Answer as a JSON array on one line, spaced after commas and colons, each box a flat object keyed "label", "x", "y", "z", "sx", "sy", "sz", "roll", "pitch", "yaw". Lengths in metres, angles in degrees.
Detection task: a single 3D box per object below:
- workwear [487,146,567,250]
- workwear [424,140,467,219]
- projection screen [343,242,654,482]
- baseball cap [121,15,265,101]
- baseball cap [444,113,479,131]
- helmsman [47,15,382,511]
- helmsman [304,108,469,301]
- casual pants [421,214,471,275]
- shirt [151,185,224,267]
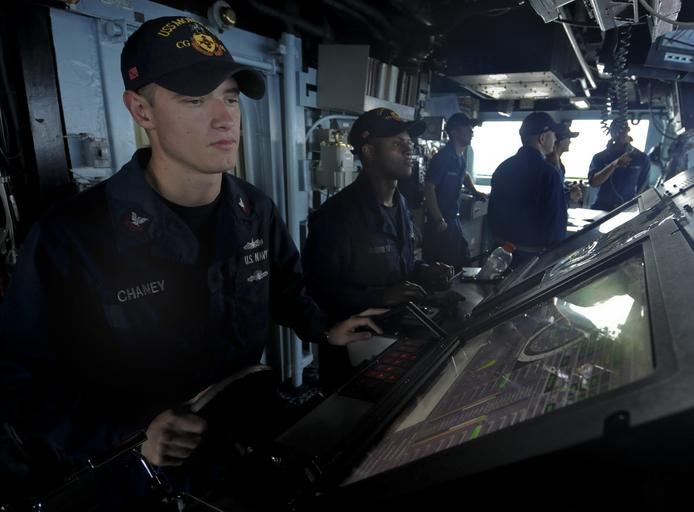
[{"label": "workwear", "x": 1.272, "y": -0.416, "z": 3.721, "sx": 0.376, "sy": 0.693, "sz": 0.802, "roll": -11, "pitch": 22, "yaw": -20}, {"label": "workwear", "x": 0.878, "y": -0.714, "z": 4.704, "sx": 0.312, "sy": 0.776, "sz": 0.688, "roll": 4, "pitch": 23, "yaw": 26}, {"label": "projection screen", "x": 0.397, "y": 0.235, "z": 1.187, "sx": 0.515, "sy": 0.442, "sz": 0.682, "roll": 8, "pitch": 14, "yaw": 31}, {"label": "baseball cap", "x": -0.500, "y": -0.604, "z": 1.647, "sx": 0.397, "sy": 0.211, "sz": 0.278, "roll": 6, "pitch": 22, "yaw": 20}, {"label": "baseball cap", "x": 1.028, "y": -1.235, "z": 4.705, "sx": 0.288, "sy": 0.165, "sz": 0.201, "roll": -21, "pitch": 11, "yaw": 20}, {"label": "helmsman", "x": -0.558, "y": -0.111, "z": 1.678, "sx": 0.999, "sy": 1.301, "sz": 0.476, "roll": -6, "pitch": 14, "yaw": -33}, {"label": "helmsman", "x": 0.199, "y": -0.231, "z": 2.657, "sx": 0.638, "sy": 1.013, "sz": 1.060, "roll": 3, "pitch": 8, "yaw": 28}, {"label": "casual pants", "x": 0.809, "y": -0.102, "z": 4.340, "sx": 0.416, "sy": 0.573, "sz": 0.311, "roll": -9, "pitch": 2, "yaw": 5}, {"label": "shirt", "x": -0.551, "y": -0.108, "z": 1.788, "sx": 0.190, "sy": 0.239, "sz": 0.187, "roll": 4, "pitch": 15, "yaw": 4}]
